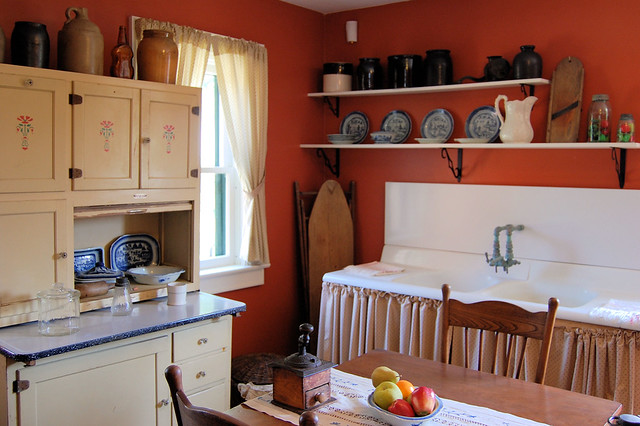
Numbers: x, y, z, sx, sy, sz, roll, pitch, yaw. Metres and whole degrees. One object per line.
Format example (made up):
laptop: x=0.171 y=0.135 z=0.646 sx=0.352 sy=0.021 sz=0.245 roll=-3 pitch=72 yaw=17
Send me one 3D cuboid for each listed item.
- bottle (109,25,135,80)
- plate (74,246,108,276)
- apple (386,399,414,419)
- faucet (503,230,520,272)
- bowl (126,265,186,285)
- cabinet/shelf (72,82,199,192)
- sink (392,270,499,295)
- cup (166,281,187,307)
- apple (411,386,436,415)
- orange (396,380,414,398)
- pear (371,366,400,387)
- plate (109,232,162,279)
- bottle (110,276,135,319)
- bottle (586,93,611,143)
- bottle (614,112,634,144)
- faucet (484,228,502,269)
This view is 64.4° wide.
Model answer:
bottle: x=-1.197 y=-0.956 z=3.028 sx=0.132 sy=0.338 sz=0.250 roll=-5 pitch=7 yaw=-18
plate: x=-1.437 y=0.286 z=3.121 sx=0.146 sy=0.145 sz=0.038 roll=-1 pitch=6 yaw=-44
apple: x=0.320 y=0.770 z=1.993 sx=0.083 sy=0.065 sz=0.063 roll=18 pitch=-20 yaw=5
faucet: x=1.383 y=0.272 z=3.661 sx=0.102 sy=0.344 sz=0.170 roll=0 pitch=7 yaw=20
bowl: x=-1.055 y=0.393 z=3.245 sx=0.332 sy=0.088 sz=0.304 roll=-3 pitch=7 yaw=0
cabinet/shelf: x=-1.161 y=-0.448 z=3.068 sx=0.325 sy=0.660 sz=0.802 roll=10 pitch=10 yaw=40
sink: x=0.924 y=0.510 z=3.845 sx=0.324 sy=0.082 sz=0.351 roll=-5 pitch=9 yaw=-41
cup: x=-0.867 y=0.501 z=3.085 sx=0.105 sy=0.114 sz=0.132 roll=0 pitch=-3 yaw=-1
apple: x=0.399 y=0.738 z=2.002 sx=0.095 sy=0.100 sz=0.095 roll=5 pitch=-25 yaw=2
orange: x=0.351 y=0.718 z=2.107 sx=0.061 sy=0.061 sz=0.061 roll=-28 pitch=-1 yaw=7
pear: x=0.278 y=0.689 z=2.153 sx=0.135 sy=0.087 sz=0.094 roll=-9 pitch=1 yaw=3
plate: x=-1.217 y=0.261 z=3.285 sx=0.330 sy=0.056 sz=0.364 roll=-29 pitch=54 yaw=-34
bottle: x=-1.148 y=0.478 z=2.923 sx=0.132 sy=0.214 sz=0.130 roll=1 pitch=4 yaw=0
bottle: x=1.837 y=-0.625 z=3.335 sx=0.138 sy=0.310 sz=0.175 roll=1 pitch=8 yaw=28
bottle: x=1.969 y=-0.545 z=3.268 sx=0.102 sy=0.181 sz=0.199 roll=1 pitch=8 yaw=30
faucet: x=1.246 y=0.260 z=3.658 sx=0.117 sy=0.354 sz=0.333 roll=-1 pitch=7 yaw=17
